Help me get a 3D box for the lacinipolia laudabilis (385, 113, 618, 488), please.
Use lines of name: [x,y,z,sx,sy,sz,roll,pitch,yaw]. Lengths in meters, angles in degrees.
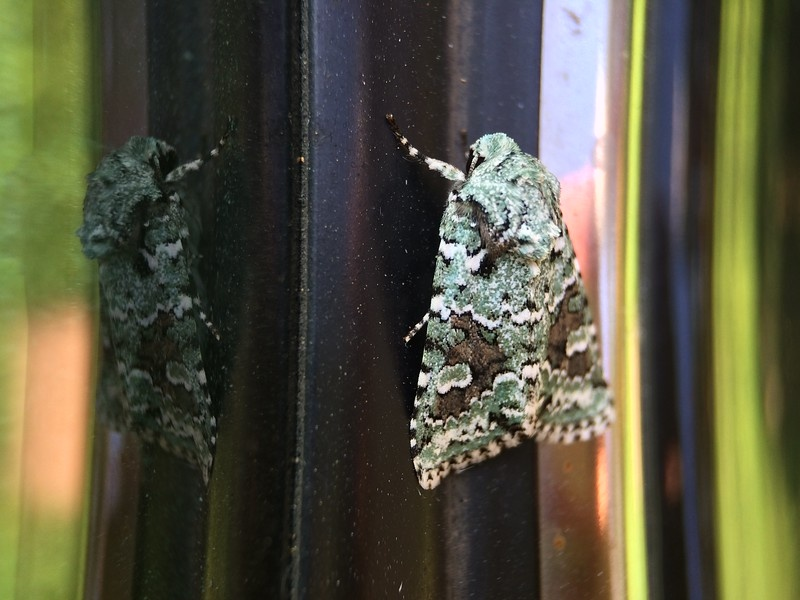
lacinipolia laudabilis: [0.137,0.008,1.503,0.289,0.531,0.139,-7,9,-24]
